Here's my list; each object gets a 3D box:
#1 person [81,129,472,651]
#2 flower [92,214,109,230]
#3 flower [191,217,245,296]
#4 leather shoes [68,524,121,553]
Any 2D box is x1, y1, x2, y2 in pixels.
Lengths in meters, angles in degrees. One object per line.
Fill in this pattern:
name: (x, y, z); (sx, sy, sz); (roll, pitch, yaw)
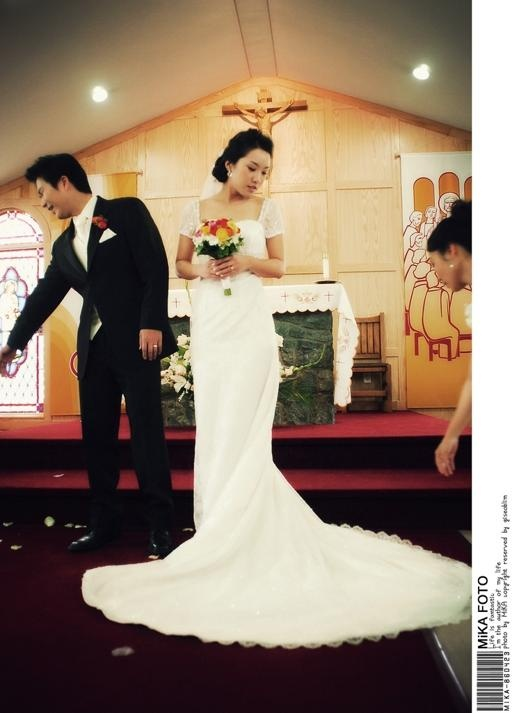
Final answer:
person: (0.042, -0.005, 2.138); (1.390, 1.684, 1.189); (-3, -3, 30)
flower: (-0.601, -0.518, 2.166); (0.050, 0.050, 0.024); (3, -5, -1)
flower: (-0.136, -0.409, 2.308); (0.268, 0.327, 0.249); (-4, 3, -22)
leather shoes: (-0.645, 0.741, 2.301); (0.213, 0.148, 0.076); (9, -13, -42)
